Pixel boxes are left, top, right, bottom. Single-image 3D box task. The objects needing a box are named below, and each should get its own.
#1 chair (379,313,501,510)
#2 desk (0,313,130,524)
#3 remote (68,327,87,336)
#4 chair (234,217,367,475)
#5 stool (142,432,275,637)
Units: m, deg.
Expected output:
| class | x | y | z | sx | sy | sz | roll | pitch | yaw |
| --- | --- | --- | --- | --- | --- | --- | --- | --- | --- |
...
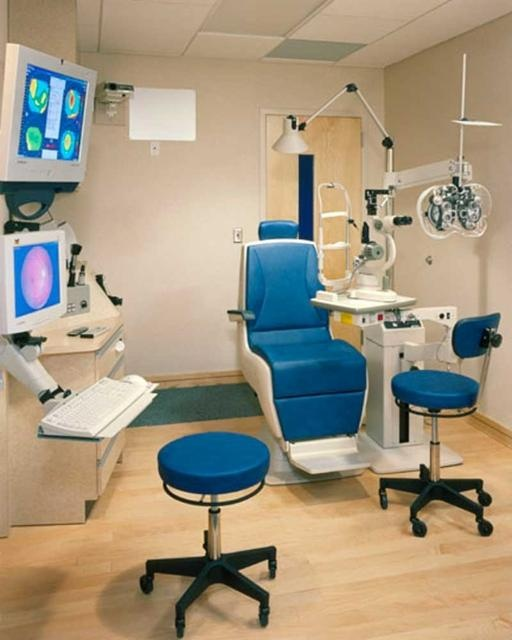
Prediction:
| class | x | y | z | sx | sy | sz | roll | pitch | yaw |
| --- | --- | --- | --- | --- | --- | --- | --- | --- | --- |
| chair | 0.804 | 0.404 | 2.599 | 0.508 | 0.911 | 0.547 | 1 | 10 | 12 |
| desk | -0.750 | 0.397 | 2.290 | 0.452 | 0.744 | 0.844 | -1 | 7 | -5 |
| remote | -0.799 | 0.051 | 2.687 | 0.039 | 0.013 | 0.083 | -1 | 12 | 1 |
| chair | 0.238 | 0.143 | 3.090 | 0.666 | 1.265 | 0.915 | -3 | 10 | -10 |
| stool | -0.166 | 0.689 | 2.027 | 0.486 | 0.540 | 0.479 | -1 | 10 | 0 |
